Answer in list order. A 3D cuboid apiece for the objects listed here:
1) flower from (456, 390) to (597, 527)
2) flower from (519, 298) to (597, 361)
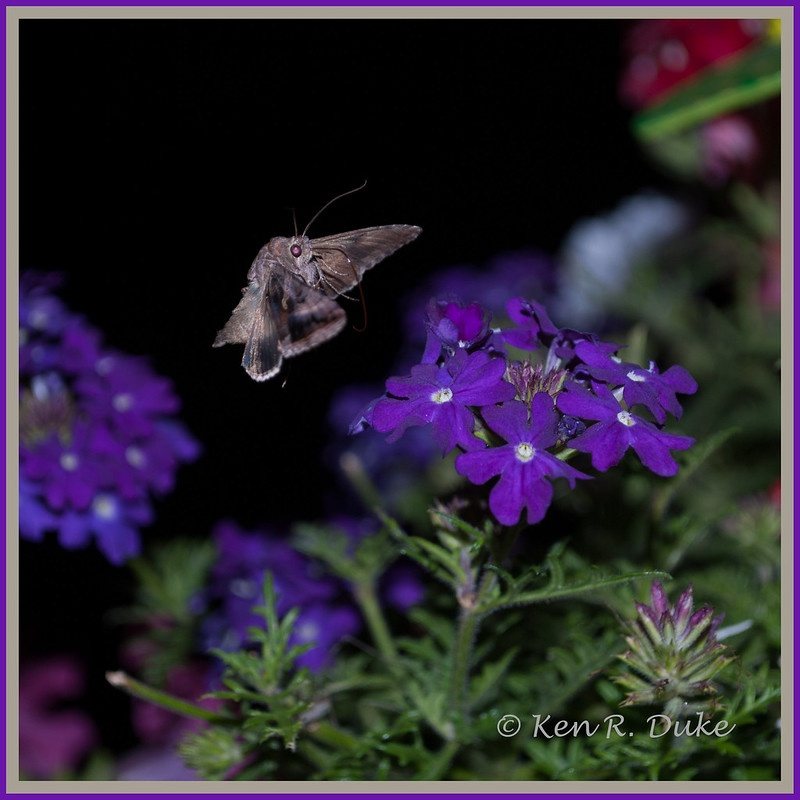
[{"bbox_3d":[0.304,0.139,2.282,0.084,0.399,0.376,17,38,32],"label":"flower"},{"bbox_3d":[0.405,-0.182,2.603,0.177,0.189,0.412,-7,-5,2],"label":"flower"}]
